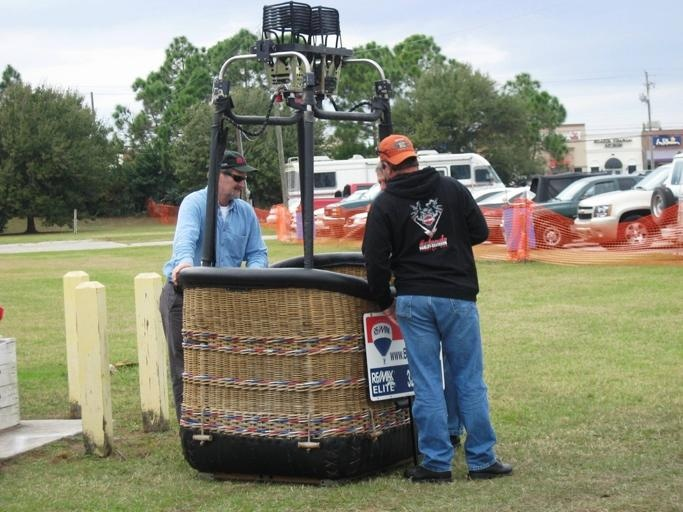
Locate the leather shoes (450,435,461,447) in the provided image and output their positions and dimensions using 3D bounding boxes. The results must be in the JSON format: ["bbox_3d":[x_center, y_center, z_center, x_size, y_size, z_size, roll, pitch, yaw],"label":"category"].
[{"bbox_3d":[1.127,1.812,11.797,0.058,0.115,0.164,-3,12,-4],"label":"leather shoes"}]

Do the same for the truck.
[{"bbox_3d":[2.289,-1.778,37.186,7.763,3.560,2.788,-2,7,-3],"label":"truck"}]

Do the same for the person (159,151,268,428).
[{"bbox_3d":[-1.265,0.282,12.108,1.118,2.661,0.836,-6,13,-17],"label":"person"}]

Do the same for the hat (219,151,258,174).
[{"bbox_3d":[-1.020,-0.967,11.979,0.327,0.159,0.207,0,4,6],"label":"hat"}]

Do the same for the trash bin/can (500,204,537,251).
[{"bbox_3d":[3.395,-0.594,23.568,0.852,1.178,0.903,-1,2,10],"label":"trash bin/can"}]

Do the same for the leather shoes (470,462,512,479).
[{"bbox_3d":[1.413,2.010,11.294,0.452,0.197,0.147,-3,-1,-2],"label":"leather shoes"}]

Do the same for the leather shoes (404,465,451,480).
[{"bbox_3d":[0.812,2.045,11.273,0.406,0.155,0.155,6,-14,13],"label":"leather shoes"}]

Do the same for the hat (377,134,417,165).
[{"bbox_3d":[0.514,-1.030,11.351,0.254,0.196,0.349,-9,10,-20],"label":"hat"}]
